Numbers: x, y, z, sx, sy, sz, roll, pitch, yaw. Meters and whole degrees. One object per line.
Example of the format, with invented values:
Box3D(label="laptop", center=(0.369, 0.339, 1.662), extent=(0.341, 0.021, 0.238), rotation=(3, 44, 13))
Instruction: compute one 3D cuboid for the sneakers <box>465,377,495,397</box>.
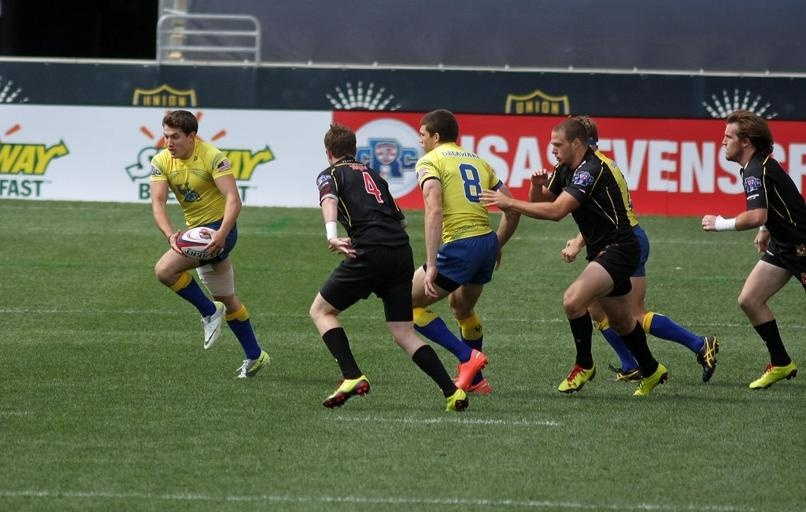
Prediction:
Box3D(label="sneakers", center=(0.989, 1.707, 16.230), extent=(0.425, 0.172, 0.150), rotation=(2, -3, -5))

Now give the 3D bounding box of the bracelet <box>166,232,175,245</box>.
Box3D(label="bracelet", center=(-3.105, -0.218, 16.601), extent=(0.112, 0.115, 0.121), rotation=(1, -2, 10))

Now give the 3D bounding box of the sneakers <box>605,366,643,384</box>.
Box3D(label="sneakers", center=(2.956, 1.599, 16.776), extent=(0.434, 0.192, 0.165), rotation=(5, -1, 15))

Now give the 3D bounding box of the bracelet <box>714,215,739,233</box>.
Box3D(label="bracelet", center=(4.160, -0.408, 16.052), extent=(0.282, 0.159, 0.140), rotation=(6, 11, 41))

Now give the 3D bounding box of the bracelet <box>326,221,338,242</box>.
Box3D(label="bracelet", center=(-0.894, -0.322, 15.686), extent=(0.136, 0.246, 0.423), rotation=(-1, 8, -2))
